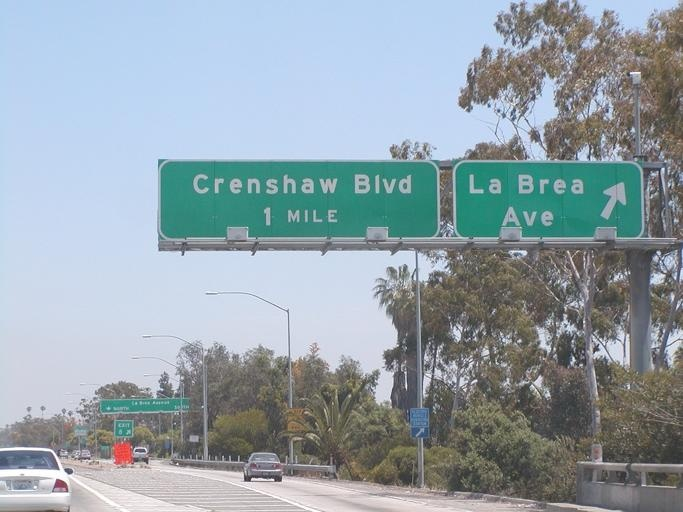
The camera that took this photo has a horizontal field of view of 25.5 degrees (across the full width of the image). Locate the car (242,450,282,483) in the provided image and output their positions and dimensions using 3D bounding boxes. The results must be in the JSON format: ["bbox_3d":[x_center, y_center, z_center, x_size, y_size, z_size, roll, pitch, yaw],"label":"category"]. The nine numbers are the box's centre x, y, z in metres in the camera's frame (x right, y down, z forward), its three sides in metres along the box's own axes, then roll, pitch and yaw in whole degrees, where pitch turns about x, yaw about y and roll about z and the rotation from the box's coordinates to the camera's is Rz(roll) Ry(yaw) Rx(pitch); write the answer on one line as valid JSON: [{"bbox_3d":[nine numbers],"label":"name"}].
[{"bbox_3d":[-4.137,11.236,79.927,1.822,1.641,2.374,4,-12,-18],"label":"car"}]

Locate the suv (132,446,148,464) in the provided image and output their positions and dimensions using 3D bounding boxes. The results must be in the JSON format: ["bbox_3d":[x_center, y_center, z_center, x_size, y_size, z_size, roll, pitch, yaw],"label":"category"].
[{"bbox_3d":[-17.000,16.559,127.369,1.636,1.735,4.035,1,-11,-9],"label":"suv"}]

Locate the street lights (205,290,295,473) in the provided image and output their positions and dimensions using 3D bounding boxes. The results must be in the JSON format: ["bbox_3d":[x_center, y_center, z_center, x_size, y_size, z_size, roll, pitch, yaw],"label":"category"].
[{"bbox_3d":[-0.731,1.100,11.447,0.858,2.122,0.200,-6,-39,3],"label":"street lights"}]
